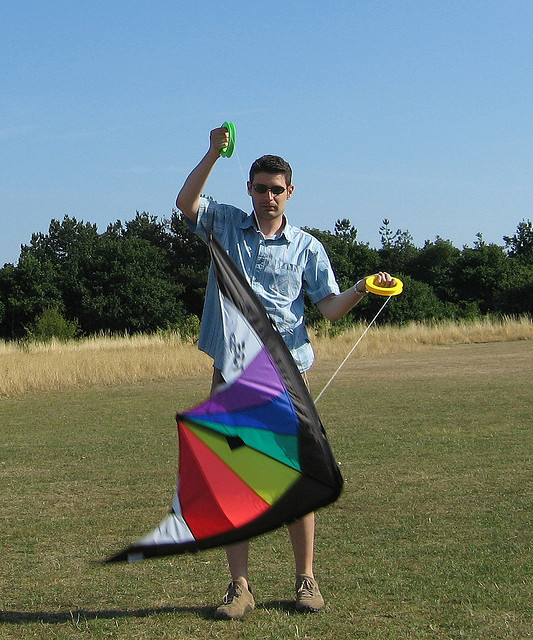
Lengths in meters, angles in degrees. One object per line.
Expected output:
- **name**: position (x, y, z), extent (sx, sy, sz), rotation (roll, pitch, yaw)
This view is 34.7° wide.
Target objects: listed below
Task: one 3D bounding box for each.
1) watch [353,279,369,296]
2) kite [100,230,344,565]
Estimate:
- **watch**: position (0.470, -0.155, 4.169), extent (0.019, 0.070, 0.068), rotation (-47, 24, -16)
- **kite**: position (-0.123, 0.330, 3.966), extent (0.902, 1.377, 0.320), rotation (0, 0, -20)
